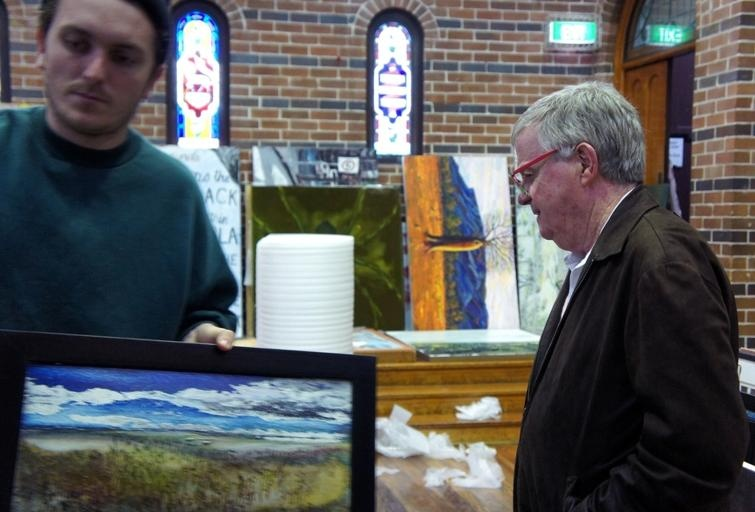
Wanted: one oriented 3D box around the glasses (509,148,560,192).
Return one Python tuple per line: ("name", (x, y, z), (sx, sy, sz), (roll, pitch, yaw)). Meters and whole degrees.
("glasses", (0.561, -0.325, 3.609), (0.133, 0.037, 0.135), (-33, -7, 3))
